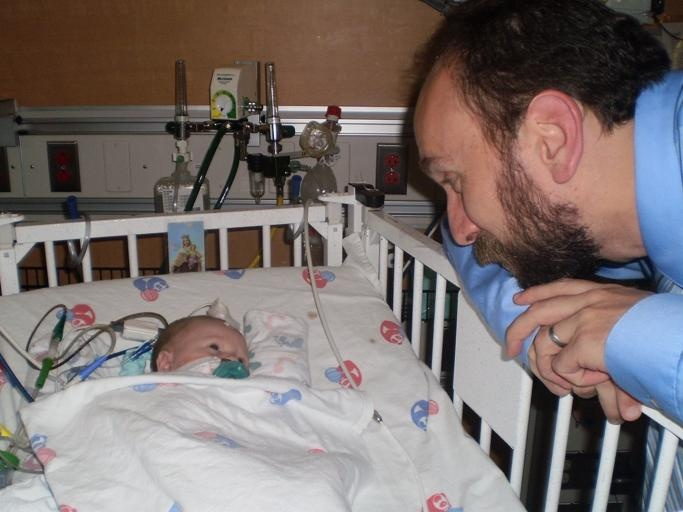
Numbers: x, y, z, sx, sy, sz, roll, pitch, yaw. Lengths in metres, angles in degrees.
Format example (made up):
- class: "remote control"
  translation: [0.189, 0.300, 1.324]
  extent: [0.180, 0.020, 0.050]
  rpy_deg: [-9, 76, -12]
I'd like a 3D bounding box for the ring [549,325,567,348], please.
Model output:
- class: "ring"
  translation: [0.416, 0.158, 1.303]
  extent: [0.038, 0.013, 0.032]
  rpy_deg: [44, 11, -48]
